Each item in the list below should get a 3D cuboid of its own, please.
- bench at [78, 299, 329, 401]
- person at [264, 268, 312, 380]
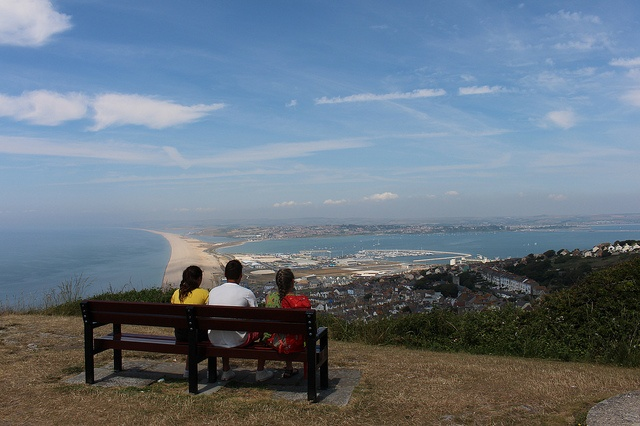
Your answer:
[{"bbox_3d":[-1.804,2.124,7.280,4.051,1.151,0.949,-1,-12,16],"label":"bench"},{"bbox_3d":[-0.494,1.623,7.131,0.648,1.513,0.896,4,-7,-21],"label":"person"}]
